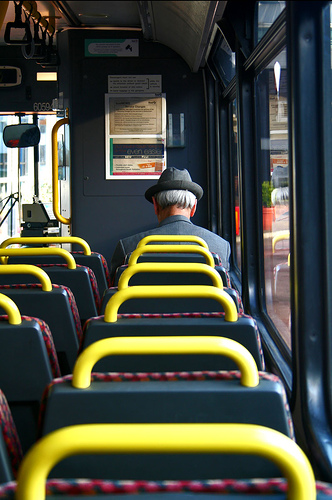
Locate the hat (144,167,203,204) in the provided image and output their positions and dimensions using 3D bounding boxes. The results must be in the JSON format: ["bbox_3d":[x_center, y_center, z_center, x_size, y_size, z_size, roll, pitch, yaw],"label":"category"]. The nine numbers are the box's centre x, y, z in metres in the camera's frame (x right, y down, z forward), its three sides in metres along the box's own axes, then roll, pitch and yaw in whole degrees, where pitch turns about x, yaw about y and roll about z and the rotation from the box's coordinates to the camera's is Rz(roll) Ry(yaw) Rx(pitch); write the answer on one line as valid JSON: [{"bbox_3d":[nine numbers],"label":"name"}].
[{"bbox_3d":[0.067,-0.425,2.649,0.324,0.175,0.376,-22,19,-34],"label":"hat"}]

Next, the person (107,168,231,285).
[{"bbox_3d":[0.045,-0.106,2.494,0.707,0.820,0.407,0,-21,0],"label":"person"}]

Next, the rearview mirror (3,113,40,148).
[{"bbox_3d":[-1.719,-1.349,4.734,0.464,0.252,0.234,3,8,15],"label":"rearview mirror"}]
